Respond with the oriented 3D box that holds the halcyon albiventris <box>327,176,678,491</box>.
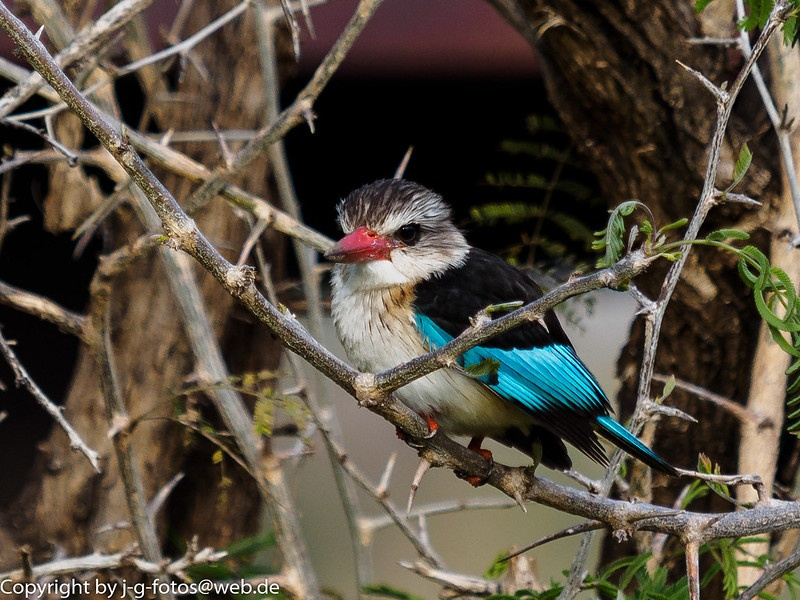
[{"bbox_3d":[0.679,0.257,6.104,2.106,1.291,0.709,16,-14,-18],"label":"halcyon albiventris"}]
